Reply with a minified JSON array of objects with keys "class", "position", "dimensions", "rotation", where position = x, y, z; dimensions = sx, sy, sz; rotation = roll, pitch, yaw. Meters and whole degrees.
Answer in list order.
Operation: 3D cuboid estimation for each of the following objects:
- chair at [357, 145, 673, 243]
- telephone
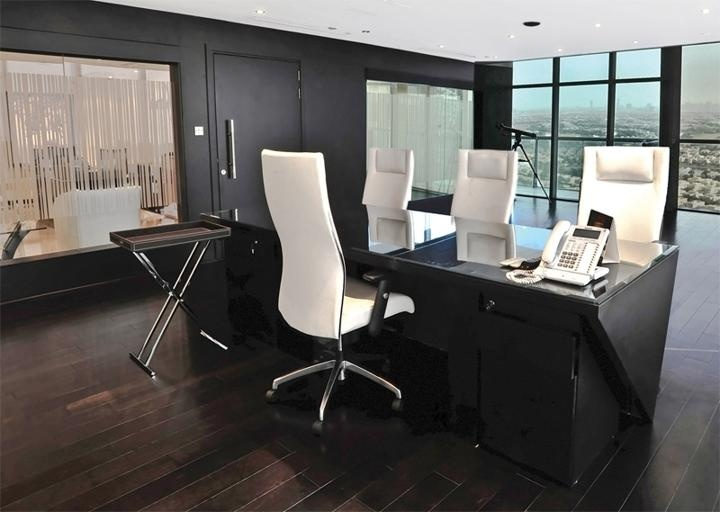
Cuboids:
[{"class":"chair","position":[1.521,-0.693,5.281],"dimensions":[2.130,1.014,0.912],"rotation":[7,9,41]},{"class":"telephone","position":[1.172,-0.025,2.713],"dimensions":[0.316,0.278,0.338],"rotation":[10,21,30]}]
